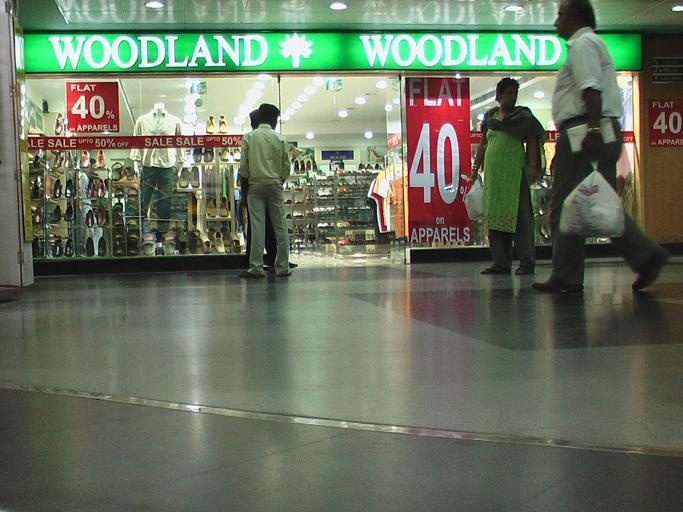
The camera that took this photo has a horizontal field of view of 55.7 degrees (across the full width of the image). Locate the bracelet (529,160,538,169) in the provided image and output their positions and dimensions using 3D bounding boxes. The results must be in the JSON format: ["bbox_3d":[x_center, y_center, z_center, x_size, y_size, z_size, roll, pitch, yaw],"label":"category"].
[{"bbox_3d":[1.576,-0.749,5.299,0.058,0.062,0.057,-1,-5,-22],"label":"bracelet"}]

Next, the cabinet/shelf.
[{"bbox_3d":[-0.138,-0.943,13.995,2.701,1.523,2.672,0,4,2],"label":"cabinet/shelf"}]

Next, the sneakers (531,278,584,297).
[{"bbox_3d":[1.241,0.182,3.713,0.270,0.123,0.093,5,0,9],"label":"sneakers"}]

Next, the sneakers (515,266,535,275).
[{"bbox_3d":[1.532,0.122,5.352,0.186,0.081,0.068,5,-5,-28],"label":"sneakers"}]

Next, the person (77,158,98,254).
[{"bbox_3d":[-3.003,-0.610,7.671,0.256,1.153,0.199,-3,4,-10],"label":"person"}]

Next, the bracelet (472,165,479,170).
[{"bbox_3d":[1.162,-0.766,5.595,0.045,0.019,0.052,-1,-8,22],"label":"bracelet"}]

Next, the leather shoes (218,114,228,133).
[{"bbox_3d":[-1.441,-1.613,7.874,0.101,0.197,0.070,-5,-7,-14],"label":"leather shoes"}]

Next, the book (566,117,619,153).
[{"bbox_3d":[1.392,-0.668,3.590,0.266,0.181,0.131,0,3,21],"label":"book"}]

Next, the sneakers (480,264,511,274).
[{"bbox_3d":[1.317,0.117,5.472,0.255,0.105,0.095,2,0,-6],"label":"sneakers"}]

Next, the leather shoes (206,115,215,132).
[{"bbox_3d":[-1.577,-1.591,7.798,0.102,0.200,0.071,-1,-3,-16],"label":"leather shoes"}]

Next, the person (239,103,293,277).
[{"bbox_3d":[-0.706,-0.628,6.047,0.458,1.603,0.637,-1,3,-3],"label":"person"}]
